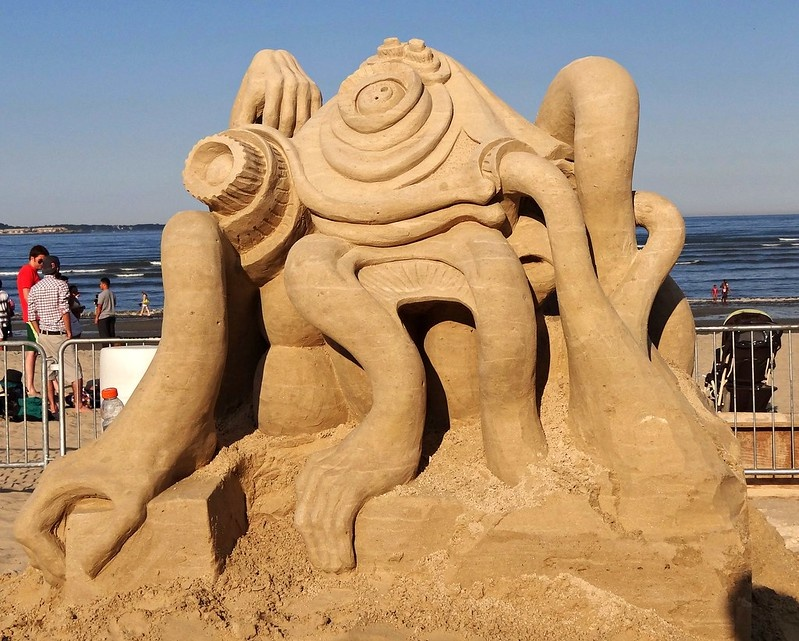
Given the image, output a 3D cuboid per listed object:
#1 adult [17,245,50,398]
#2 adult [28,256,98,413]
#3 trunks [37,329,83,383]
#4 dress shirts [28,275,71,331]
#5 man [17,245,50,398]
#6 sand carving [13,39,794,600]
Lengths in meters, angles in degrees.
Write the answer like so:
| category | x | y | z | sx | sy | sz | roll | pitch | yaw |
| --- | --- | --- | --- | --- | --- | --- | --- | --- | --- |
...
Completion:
| category | x | y | z | sx | sy | sz | roll | pitch | yaw |
| --- | --- | --- | --- | --- | --- | --- | --- | --- | --- |
| adult | -3.304 | 0.001 | 12.593 | 0.365 | 1.352 | 0.400 | -4 | 6 | -19 |
| adult | -3.031 | 0.150 | 12.128 | 0.409 | 1.430 | 0.360 | -2 | 9 | 3 |
| trunks | -2.887 | 0.299 | 11.680 | 0.425 | 0.625 | 0.316 | 0 | 3 | -3 |
| dress shirts | -3.059 | -0.122 | 12.008 | 0.323 | 0.519 | 0.164 | -6 | -10 | -11 |
| man | -3.277 | 0.002 | 12.562 | 0.366 | 1.365 | 0.405 | -1 | 9 | -6 |
| sand carving | 0.218 | -0.091 | 9.300 | 2.994 | 3.735 | 1.393 | -3 | -23 | 5 |
